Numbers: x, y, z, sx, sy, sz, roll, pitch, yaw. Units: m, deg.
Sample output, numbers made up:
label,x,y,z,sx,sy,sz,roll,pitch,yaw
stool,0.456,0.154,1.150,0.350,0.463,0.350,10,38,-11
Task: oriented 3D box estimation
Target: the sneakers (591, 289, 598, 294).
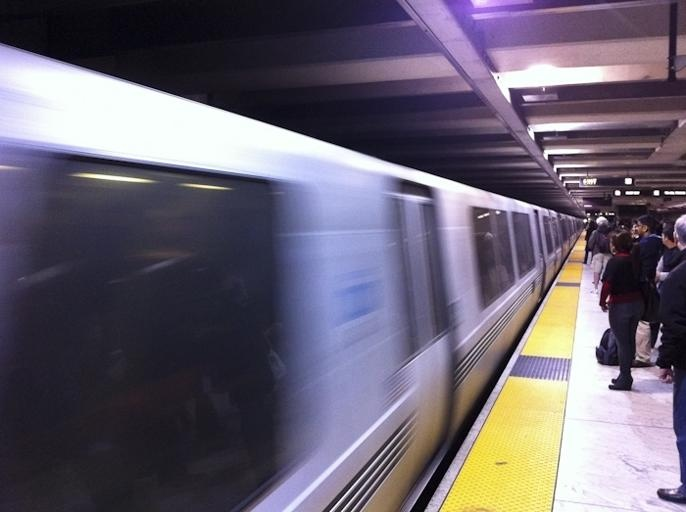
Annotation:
label,x,y,z,sx,sy,sz,roll,pitch,yaw
sneakers,6.647,0.961,11.368,0.172,0.170,0.068,-1,7,-22
